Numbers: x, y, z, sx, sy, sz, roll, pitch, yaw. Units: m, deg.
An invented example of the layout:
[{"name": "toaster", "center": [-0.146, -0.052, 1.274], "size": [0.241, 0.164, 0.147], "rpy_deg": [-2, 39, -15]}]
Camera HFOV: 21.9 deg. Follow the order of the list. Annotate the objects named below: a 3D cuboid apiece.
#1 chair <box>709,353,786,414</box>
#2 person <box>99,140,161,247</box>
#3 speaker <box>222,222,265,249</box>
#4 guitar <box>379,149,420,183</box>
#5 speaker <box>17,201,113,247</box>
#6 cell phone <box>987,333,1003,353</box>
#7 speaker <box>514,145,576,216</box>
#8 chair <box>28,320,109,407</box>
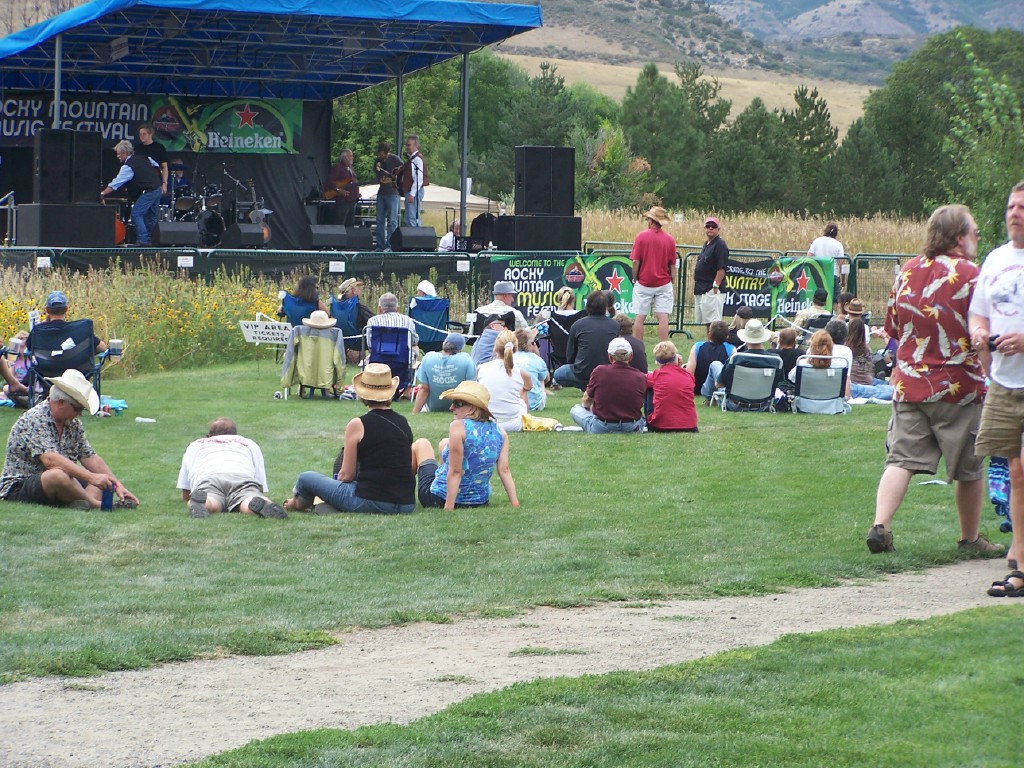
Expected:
[{"name": "chair", "center": [3.927, -0.038, 43.709], "size": [0.958, 0.955, 0.915], "rpy_deg": [1, 11, 0]}, {"name": "person", "center": [-7.427, -3.751, 52.213], "size": [0.953, 2.389, 1.076], "rpy_deg": [1, 16, -18]}, {"name": "speaker", "center": [-5.398, -2.980, 54.235], "size": [0.625, 0.509, 0.574], "rpy_deg": [-4, 6, -43]}, {"name": "guitar", "center": [-2.361, -4.524, 55.061], "size": [0.557, 0.308, 0.757], "rpy_deg": [17, -38, -4]}, {"name": "speaker", "center": [-8.500, -2.976, 50.546], "size": [1.573, 0.831, 0.829], "rpy_deg": [-1, 0, -41]}, {"name": "cell phone", "center": [6.577, -0.563, 36.159], "size": [0.164, 0.195, 0.140], "rpy_deg": [-10, 33, -17]}, {"name": "speaker", "center": [0.660, -4.091, 53.957], "size": [0.962, 1.562, 0.952], "rpy_deg": [-10, 20, -34]}, {"name": "chair", "center": [-7.119, -0.352, 42.228], "size": [1.086, 1.603, 1.101], "rpy_deg": [-2, 7, -15]}]
